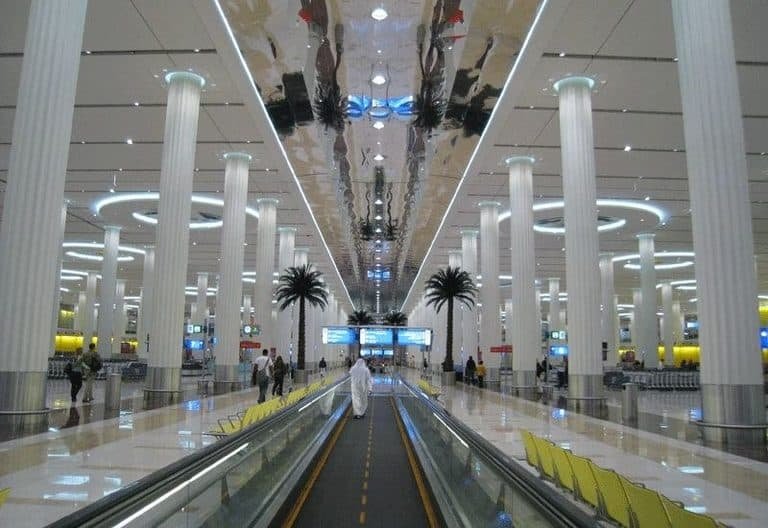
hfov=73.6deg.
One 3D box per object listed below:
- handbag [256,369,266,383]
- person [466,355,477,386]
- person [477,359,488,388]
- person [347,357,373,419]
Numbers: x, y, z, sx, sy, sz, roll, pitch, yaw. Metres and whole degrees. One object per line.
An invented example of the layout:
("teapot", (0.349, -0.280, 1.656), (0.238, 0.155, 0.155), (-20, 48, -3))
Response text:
("handbag", (-4.421, 4.096, 18.449), (0.394, 0.404, 0.157), (2, -20, -16))
("person", (5.377, 6.674, 31.897), (0.669, 1.503, 1.508), (2, -6, 0))
("person", (5.400, 6.220, 28.562), (0.361, 1.361, 1.022), (0, -6, 12))
("person", (-0.781, 4.102, 16.972), (0.646, 1.912, 1.449), (2, -6, -1))
